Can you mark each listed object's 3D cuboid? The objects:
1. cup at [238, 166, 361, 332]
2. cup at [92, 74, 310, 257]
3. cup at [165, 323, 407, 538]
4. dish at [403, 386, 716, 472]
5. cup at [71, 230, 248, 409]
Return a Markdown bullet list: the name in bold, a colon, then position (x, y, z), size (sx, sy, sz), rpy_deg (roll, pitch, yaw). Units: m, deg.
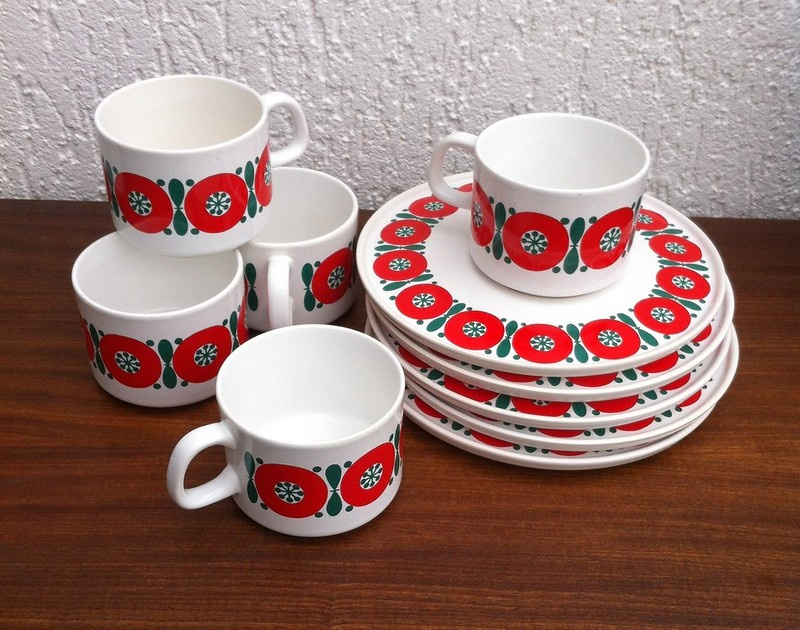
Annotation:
- **cup**: position (-0.111, -0.041, 0.751), size (0.129, 0.106, 0.207), rpy_deg (2, 40, -2)
- **cup**: position (-0.175, -0.146, 0.709), size (0.198, 0.121, 0.148), rpy_deg (-15, 47, -22)
- **cup**: position (-0.095, 0.104, 0.604), size (0.190, 0.107, 0.137), rpy_deg (-18, 39, -30)
- **dish**: position (0.141, 0.109, 0.720), size (0.282, 0.292, 0.034), rpy_deg (4, 77, -20)
- **cup**: position (-0.206, 0.012, 0.753), size (0.142, 0.106, 0.192), rpy_deg (29, 41, 24)
